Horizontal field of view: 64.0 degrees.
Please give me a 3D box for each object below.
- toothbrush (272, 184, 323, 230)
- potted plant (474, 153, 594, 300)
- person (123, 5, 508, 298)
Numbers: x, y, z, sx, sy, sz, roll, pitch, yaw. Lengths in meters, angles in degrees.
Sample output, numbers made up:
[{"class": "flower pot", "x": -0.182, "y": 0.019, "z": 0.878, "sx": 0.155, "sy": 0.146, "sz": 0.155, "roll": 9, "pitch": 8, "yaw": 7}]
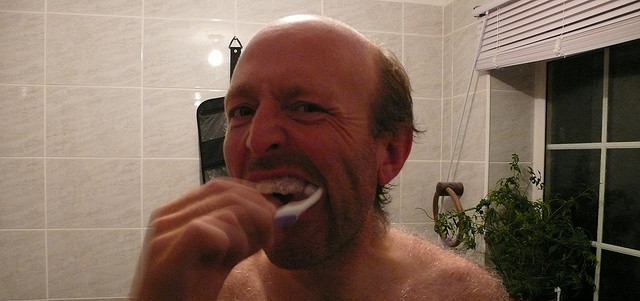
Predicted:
[{"class": "toothbrush", "x": -0.094, "y": 0.208, "z": 1.979, "sx": 0.276, "sy": 0.082, "sz": 0.067, "roll": -31, "pitch": 20, "yaw": -14}, {"class": "potted plant", "x": 0.883, "y": 0.335, "z": 2.477, "sx": 0.711, "sy": 0.691, "sz": 0.546, "roll": -2, "pitch": -8, "yaw": 21}, {"class": "person", "x": 0.101, "y": 0.109, "z": 2.218, "sx": 1.457, "sy": 0.911, "sz": 1.123, "roll": -1, "pitch": -12, "yaw": 26}]
